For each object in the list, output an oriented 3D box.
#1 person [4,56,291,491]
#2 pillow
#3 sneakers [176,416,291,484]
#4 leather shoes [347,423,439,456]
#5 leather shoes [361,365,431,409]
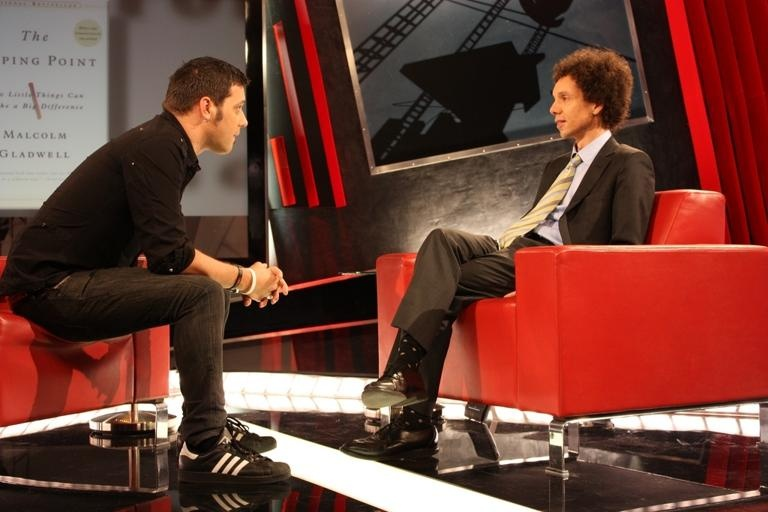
[{"bbox_3d":[-0.867,0.029,2.355,1.000,1.471,0.354,-1,0,-8],"label":"person"},{"bbox_3d":[1.266,-0.147,2.716,0.305,0.216,0.280,-2,3,6],"label":"pillow"},{"bbox_3d":[-0.551,0.740,2.322,0.289,0.096,0.319,2,0,-12],"label":"sneakers"},{"bbox_3d":[0.045,0.729,2.593,0.363,0.117,0.134,2,-7,-16],"label":"leather shoes"},{"bbox_3d":[0.048,0.466,2.396,0.128,0.105,0.281,-10,-18,40],"label":"leather shoes"}]
